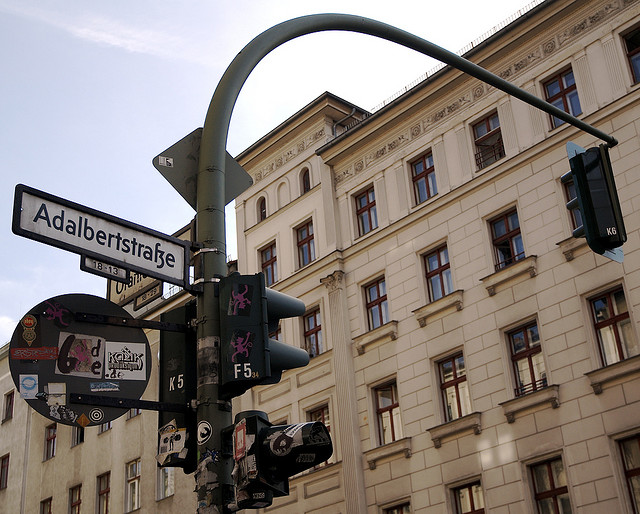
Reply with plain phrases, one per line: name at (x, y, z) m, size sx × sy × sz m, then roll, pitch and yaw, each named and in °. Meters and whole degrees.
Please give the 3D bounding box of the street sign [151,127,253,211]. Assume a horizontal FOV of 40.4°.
street sign at (-1.057, -0.763, 7.930) m, size 0.928 × 0.761 × 0.264 m, roll 11°, pitch -31°, yaw -27°

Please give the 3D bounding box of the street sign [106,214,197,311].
street sign at (-1.602, 0.027, 8.221) m, size 0.919 × 0.557 × 0.039 m, roll 16°, pitch 8°, yaw 31°

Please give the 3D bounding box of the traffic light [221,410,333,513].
traffic light at (-0.350, 1.641, 7.023) m, size 0.872 × 0.791 × 0.392 m, roll 0°, pitch -28°, yaw -8°

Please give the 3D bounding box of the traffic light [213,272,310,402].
traffic light at (-0.520, 0.713, 7.384) m, size 0.511 × 1.059 × 0.756 m, roll -14°, pitch -30°, yaw 18°
